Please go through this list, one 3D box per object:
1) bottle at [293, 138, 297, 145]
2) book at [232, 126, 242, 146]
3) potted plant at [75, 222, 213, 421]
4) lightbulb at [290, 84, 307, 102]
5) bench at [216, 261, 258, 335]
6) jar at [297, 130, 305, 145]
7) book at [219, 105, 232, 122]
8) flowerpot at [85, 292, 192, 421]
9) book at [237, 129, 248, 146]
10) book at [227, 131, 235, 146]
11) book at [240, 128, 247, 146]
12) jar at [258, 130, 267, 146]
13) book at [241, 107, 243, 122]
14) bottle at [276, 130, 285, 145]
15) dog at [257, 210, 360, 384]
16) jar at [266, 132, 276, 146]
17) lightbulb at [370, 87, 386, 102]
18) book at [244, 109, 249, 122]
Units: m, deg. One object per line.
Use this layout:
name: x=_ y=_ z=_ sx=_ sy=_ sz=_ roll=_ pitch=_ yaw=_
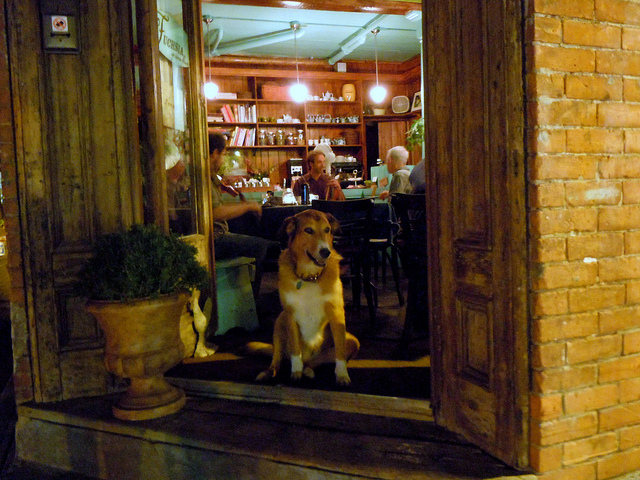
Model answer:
bottle: x=-0.459 y=-1.796 z=10.152 sx=0.069 sy=0.102 sz=0.058 roll=-1 pitch=9 yaw=-3
book: x=-1.456 y=-1.804 z=9.713 sx=0.058 sy=0.257 sz=0.245 roll=7 pitch=14 yaw=-4
potted plant: x=-0.952 y=0.430 z=3.479 sx=0.937 sy=1.244 sz=0.900 roll=-7 pitch=10 yaw=-42
lightbulb: x=-0.349 y=-2.533 z=9.765 sx=0.253 sy=0.267 sz=0.308 roll=4 pitch=-7 yaw=9
bench: x=-0.707 y=0.460 z=4.857 sx=0.488 sy=0.630 sz=0.490 roll=2 pitch=4 yaw=-15
jar: x=-0.353 y=-1.871 z=10.182 sx=0.126 sy=0.263 sz=0.267 roll=-1 pitch=9 yaw=-2
book: x=-1.633 y=-2.173 z=9.659 sx=0.163 sy=0.267 sz=0.066 roll=-1 pitch=8 yaw=-3
flowerpot: x=-0.960 y=0.624 z=3.382 sx=0.665 sy=0.822 sz=0.648 roll=-2 pitch=0 yaw=-5
book: x=-1.368 y=-1.794 z=9.758 sx=0.055 sy=0.240 sz=0.236 roll=10 pitch=14 yaw=2
book: x=-1.546 y=-1.755 z=9.671 sx=0.102 sy=0.248 sz=0.137 roll=-2 pitch=9 yaw=-9
book: x=-1.356 y=-1.793 z=9.761 sx=0.062 sy=0.292 sz=0.144 roll=4 pitch=10 yaw=29
jar: x=-1.025 y=-1.827 z=9.971 sx=0.145 sy=0.268 sz=0.213 roll=1 pitch=9 yaw=7
book: x=-1.365 y=-2.190 z=9.730 sx=0.026 sy=0.224 sz=0.019 roll=-5 pitch=10 yaw=-32
bottle: x=-0.722 y=-1.854 z=10.087 sx=0.147 sy=0.261 sz=0.267 roll=-1 pitch=9 yaw=-4
dog: x=-0.100 y=0.367 z=3.835 sx=0.737 sy=1.172 sz=1.043 roll=1 pitch=2 yaw=-15
jar: x=-0.870 y=-1.800 z=9.979 sx=0.174 sy=0.212 sz=0.145 roll=-4 pitch=9 yaw=-22
lightbulb: x=1.017 y=-2.566 z=9.825 sx=0.216 sy=0.226 sz=0.299 roll=3 pitch=-23 yaw=9
book: x=-1.288 y=-2.165 z=9.766 sx=0.087 sy=0.205 sz=0.030 roll=-4 pitch=9 yaw=-26
